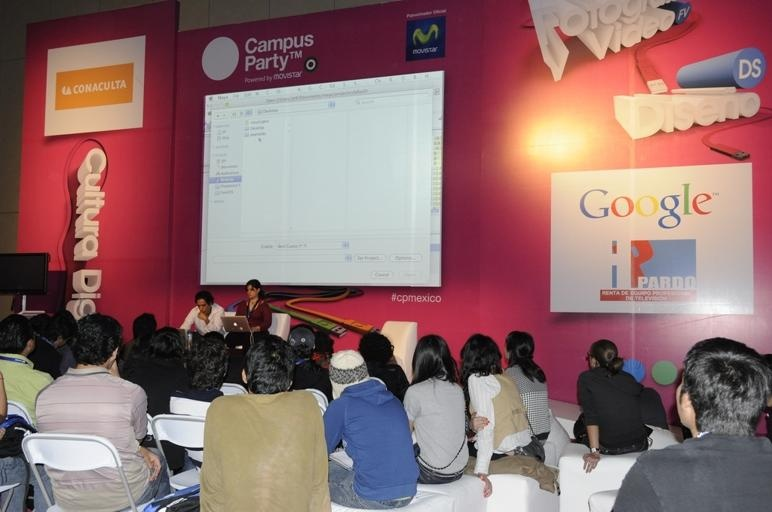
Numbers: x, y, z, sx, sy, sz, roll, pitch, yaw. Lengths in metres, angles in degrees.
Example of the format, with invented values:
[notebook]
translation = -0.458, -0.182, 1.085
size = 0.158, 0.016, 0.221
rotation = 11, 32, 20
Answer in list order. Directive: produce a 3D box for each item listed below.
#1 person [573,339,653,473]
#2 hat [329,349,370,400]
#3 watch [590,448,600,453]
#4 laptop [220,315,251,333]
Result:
[person]
translation = 1.615, 1.082, 4.242
size = 0.524, 1.135, 0.826
rotation = -3, 25, 11
[hat]
translation = -0.259, 0.672, 3.365
size = 0.226, 0.263, 0.254
rotation = -7, 9, -19
[watch]
translation = 1.510, 1.383, 4.076
size = 0.042, 0.032, 0.047
rotation = -3, -9, 16
[laptop]
translation = -1.747, 0.786, 6.603
size = 0.264, 0.165, 0.192
rotation = 0, 5, 26
